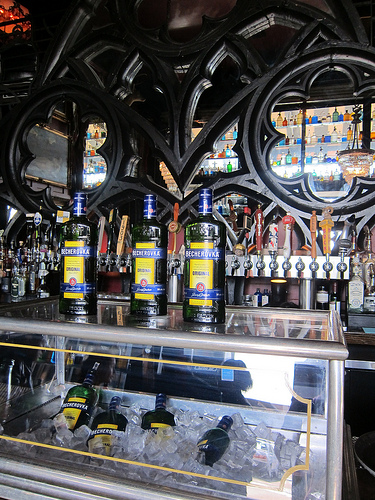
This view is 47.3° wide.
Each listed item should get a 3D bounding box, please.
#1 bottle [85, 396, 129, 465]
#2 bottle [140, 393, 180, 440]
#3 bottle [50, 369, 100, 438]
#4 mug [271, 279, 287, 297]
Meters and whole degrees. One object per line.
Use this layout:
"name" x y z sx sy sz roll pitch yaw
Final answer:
"bottle" -0.188 0.401 1.020 0.055 0.138 0.049 11 15 -22
"bottle" -0.061 0.400 1.021 0.079 0.128 0.076 1 -16 0
"bottle" -0.285 0.361 1.109 0.075 0.192 0.048 16 15 -17
"mug" 0.520 0.203 2.428 0.109 0.109 0.106 1 -1 8
